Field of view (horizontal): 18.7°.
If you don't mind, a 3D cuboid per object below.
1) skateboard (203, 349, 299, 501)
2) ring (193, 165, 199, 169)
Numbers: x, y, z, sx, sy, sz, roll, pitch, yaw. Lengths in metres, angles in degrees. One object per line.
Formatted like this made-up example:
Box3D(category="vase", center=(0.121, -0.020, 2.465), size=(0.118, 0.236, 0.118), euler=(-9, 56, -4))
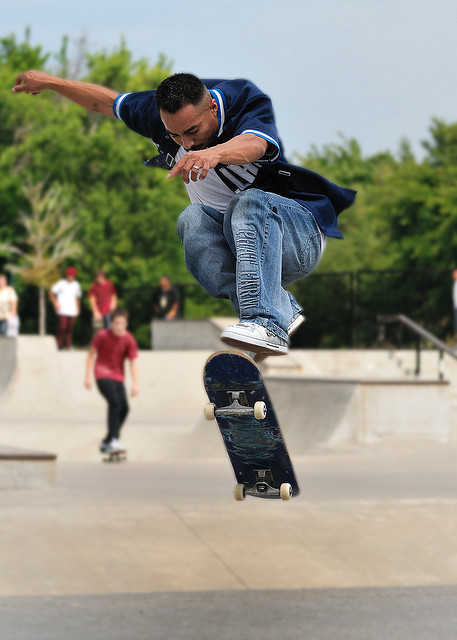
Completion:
Box3D(category="skateboard", center=(0.146, 0.560, 7.364), size=(0.305, 0.185, 1.166), euler=(-4, -45, 22))
Box3D(category="ring", center=(-0.159, -0.748, 6.715), size=(0.028, 0.012, 0.018), euler=(3, 8, 2))
